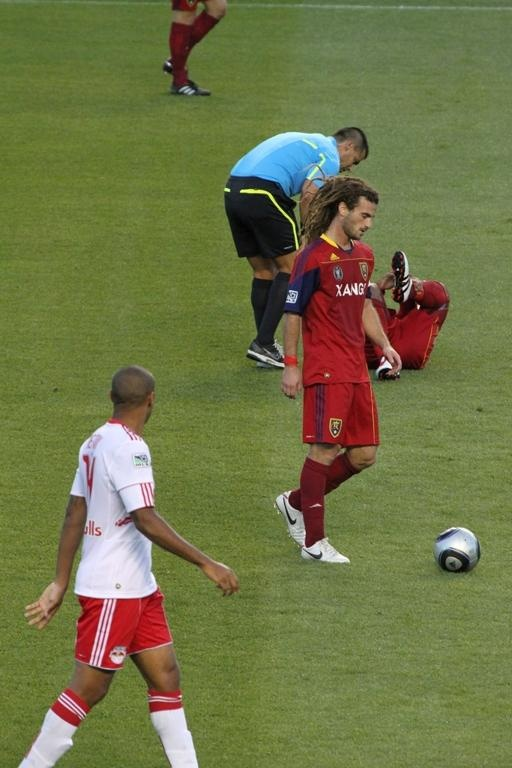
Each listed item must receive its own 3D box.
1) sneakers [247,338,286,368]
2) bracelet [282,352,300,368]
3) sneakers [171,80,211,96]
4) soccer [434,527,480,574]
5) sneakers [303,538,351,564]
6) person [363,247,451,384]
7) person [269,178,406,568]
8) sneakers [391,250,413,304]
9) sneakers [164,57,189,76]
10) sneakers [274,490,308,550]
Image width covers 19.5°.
[{"bbox_3d":[0.049,-0.196,9.655,0.309,0.138,0.117,16,1,-35],"label":"sneakers"},{"bbox_3d":[0.156,-0.109,7.077,0.055,0.041,0.054,1,6,23],"label":"bracelet"},{"bbox_3d":[-0.708,-3.194,16.175,0.423,0.170,0.148,0,20,-9],"label":"sneakers"},{"bbox_3d":[0.941,0.780,7.054,0.219,0.208,0.196,10,26,8],"label":"soccer"},{"bbox_3d":[0.326,0.796,7.167,0.275,0.110,0.094,5,10,11],"label":"sneakers"},{"bbox_3d":[0.957,-0.469,9.662,0.668,0.490,1.217,0,21,-3],"label":"person"},{"bbox_3d":[0.357,-0.083,7.146,0.513,1.768,0.920,7,26,0],"label":"person"},{"bbox_3d":[0.900,-0.659,9.355,0.152,0.331,0.112,4,23,5],"label":"sneakers"},{"bbox_3d":[-0.868,-3.394,16.055,0.163,0.196,0.200,2,4,9],"label":"sneakers"},{"bbox_3d":[0.182,0.699,7.334,0.170,0.341,0.109,3,62,11],"label":"sneakers"}]
